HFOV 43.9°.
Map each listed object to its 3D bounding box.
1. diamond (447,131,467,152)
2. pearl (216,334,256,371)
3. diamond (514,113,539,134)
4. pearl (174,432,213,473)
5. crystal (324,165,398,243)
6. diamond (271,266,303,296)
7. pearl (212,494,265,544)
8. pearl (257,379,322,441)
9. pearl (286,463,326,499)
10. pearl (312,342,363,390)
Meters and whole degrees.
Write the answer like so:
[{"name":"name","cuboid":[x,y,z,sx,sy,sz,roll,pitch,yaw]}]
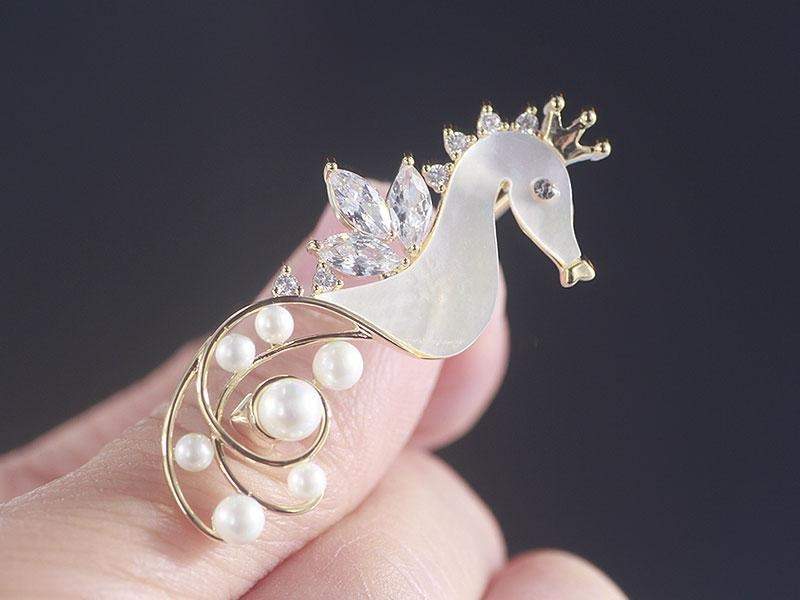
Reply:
[{"name":"diamond","cuboid":[0.087,-0.239,1.496,0.025,0.035,0.010,-33,6,-7]},{"name":"pearl","cuboid":[-0.234,0.073,1.426,0.036,0.049,0.045,10,21,26]},{"name":"diamond","cuboid":[0.194,-0.272,1.510,0.029,0.035,0.016,-6,7,2]},{"name":"pearl","cuboid":[-0.298,0.222,1.430,0.055,0.073,0.058,-7,5,-18]},{"name":"crystal","cuboid":[-0.058,-0.140,1.503,0.131,0.073,0.049,50,-7,-17]},{"name":"diamond","cuboid":[-0.171,-0.029,1.524,0.039,0.057,0.015,-3,2,-13]},{"name":"pearl","cuboid":[-0.224,0.308,1.411,0.059,0.072,0.069,13,24,8]},{"name":"pearl","cuboid":[-0.153,0.156,1.401,0.079,0.090,0.046,20,-7,-3]},{"name":"pearl","cuboid":[-0.134,0.261,1.464,0.057,0.047,0.096,13,4,-4]},{"name":"pearl","cuboid":[-0.088,0.095,1.428,0.062,0.072,0.064,1,1,9]}]
